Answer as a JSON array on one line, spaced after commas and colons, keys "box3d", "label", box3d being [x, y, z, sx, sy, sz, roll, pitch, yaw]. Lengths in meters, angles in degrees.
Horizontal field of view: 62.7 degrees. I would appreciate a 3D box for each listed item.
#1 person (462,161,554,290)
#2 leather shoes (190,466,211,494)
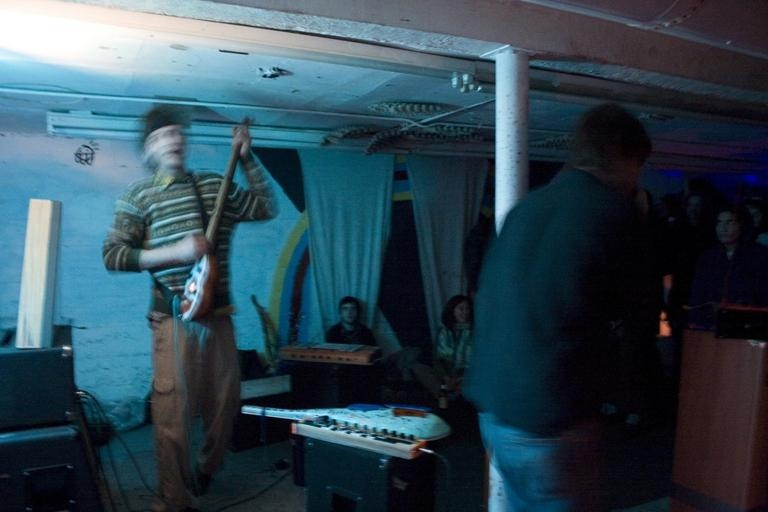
[{"box3d": [1.358, -0.507, 7.810, 1.173, 1.822, 0.272, 11, -2, 32], "label": "person"}, {"box3d": [-1.471, 1.817, 5.074, 0.190, 0.185, 0.054, 0, -1, 9], "label": "leather shoes"}]
